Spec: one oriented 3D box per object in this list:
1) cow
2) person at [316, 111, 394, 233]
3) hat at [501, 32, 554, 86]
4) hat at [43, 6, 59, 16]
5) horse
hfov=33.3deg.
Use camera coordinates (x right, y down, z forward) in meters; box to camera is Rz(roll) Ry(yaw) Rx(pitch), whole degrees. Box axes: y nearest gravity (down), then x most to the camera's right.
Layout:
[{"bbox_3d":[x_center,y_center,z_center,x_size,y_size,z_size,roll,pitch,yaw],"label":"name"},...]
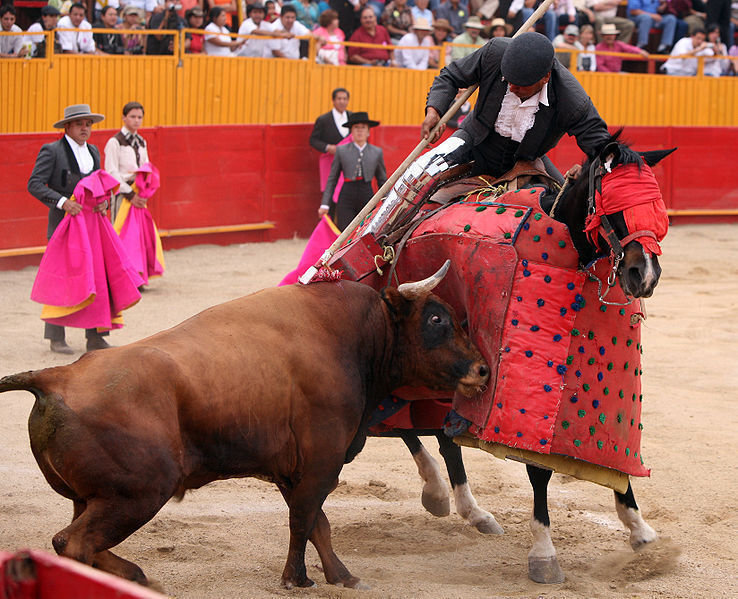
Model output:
[{"bbox_3d":[-0.512,0.659,5.896,1.709,0.959,0.424,-3,0,-36],"label":"cow"},{"bbox_3d":[-0.157,-1.312,12.672,0.623,1.194,1.042,2,14,0],"label":"person"},{"bbox_3d":[0.771,-1.187,6.080,0.256,0.255,0.193,5,14,14],"label":"hat"},{"bbox_3d":[-3.170,-2.892,12.345,0.128,0.099,0.103,3,21,39],"label":"hat"},{"bbox_3d":[0.982,0.432,6.804,0.748,2.111,3.254,-1,-7,-8],"label":"horse"}]
